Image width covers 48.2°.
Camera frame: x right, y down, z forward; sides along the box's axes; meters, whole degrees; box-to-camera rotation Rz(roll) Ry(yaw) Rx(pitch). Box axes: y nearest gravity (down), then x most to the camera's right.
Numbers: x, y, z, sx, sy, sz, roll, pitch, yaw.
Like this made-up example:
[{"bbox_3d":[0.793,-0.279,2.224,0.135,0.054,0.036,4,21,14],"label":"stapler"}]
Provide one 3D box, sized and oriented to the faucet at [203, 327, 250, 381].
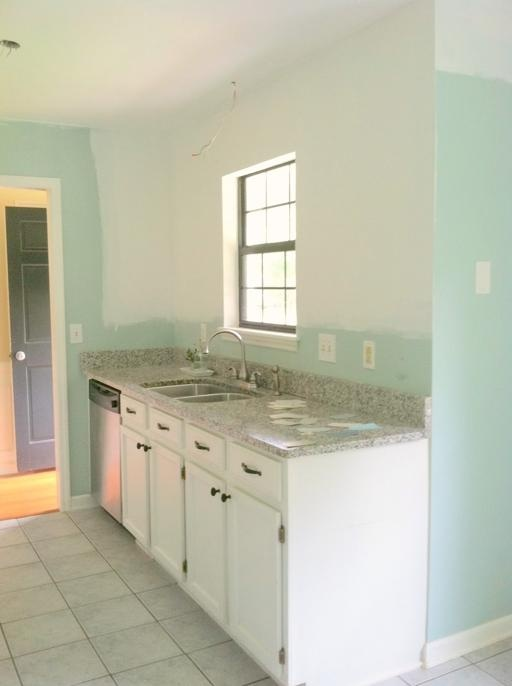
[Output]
[{"bbox_3d":[-0.147,0.083,2.908,0.238,0.335,0.069,-1,-33,-4],"label":"faucet"}]
